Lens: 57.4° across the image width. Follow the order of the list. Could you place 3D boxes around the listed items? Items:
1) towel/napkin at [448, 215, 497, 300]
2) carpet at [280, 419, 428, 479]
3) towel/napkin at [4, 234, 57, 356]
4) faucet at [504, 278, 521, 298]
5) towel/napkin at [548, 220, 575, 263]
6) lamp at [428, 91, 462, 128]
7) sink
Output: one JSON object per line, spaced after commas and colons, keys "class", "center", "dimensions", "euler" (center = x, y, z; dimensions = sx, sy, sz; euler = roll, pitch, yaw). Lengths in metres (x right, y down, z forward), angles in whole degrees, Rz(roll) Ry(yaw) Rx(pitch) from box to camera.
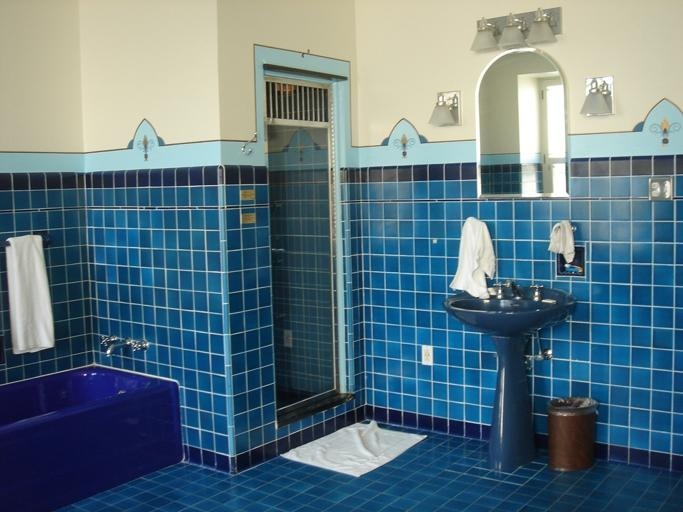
{"class": "towel/napkin", "center": [0.861, 0.014, 4.081], "dimensions": [0.233, 0.505, 0.187], "euler": [4, 11, 35]}
{"class": "carpet", "center": [0.096, 1.276, 4.195], "dimensions": [0.627, 0.033, 0.795], "euler": [5, 12, 39]}
{"class": "towel/napkin", "center": [-2.104, 0.270, 4.181], "dimensions": [0.263, 0.799, 0.125], "euler": [-8, 11, -33]}
{"class": "faucet", "center": [1.100, 0.217, 4.029], "dimensions": [0.057, 0.110, 0.153], "euler": [-5, -24, 18]}
{"class": "towel/napkin", "center": [1.363, -0.089, 3.848], "dimensions": [0.192, 0.234, 0.102], "euler": [6, 0, 21]}
{"class": "lamp", "center": [0.697, -0.983, 4.192], "dimensions": [0.204, 0.238, 0.122], "euler": [1, 10, 20]}
{"class": "sink", "center": [1.023, 0.337, 3.826], "dimensions": [0.788, 0.201, 0.469], "euler": [0, 9, 14]}
